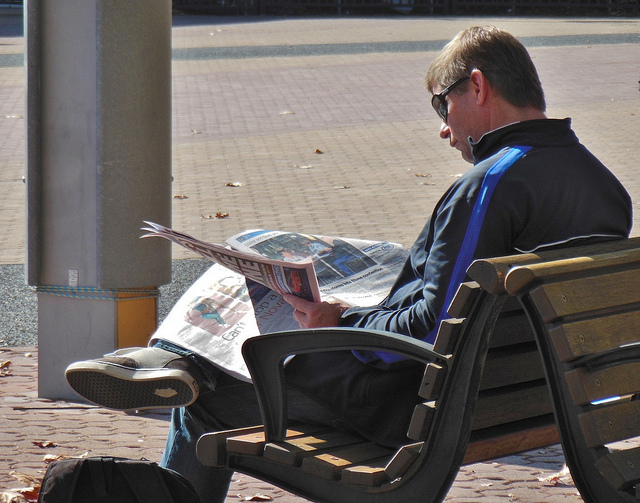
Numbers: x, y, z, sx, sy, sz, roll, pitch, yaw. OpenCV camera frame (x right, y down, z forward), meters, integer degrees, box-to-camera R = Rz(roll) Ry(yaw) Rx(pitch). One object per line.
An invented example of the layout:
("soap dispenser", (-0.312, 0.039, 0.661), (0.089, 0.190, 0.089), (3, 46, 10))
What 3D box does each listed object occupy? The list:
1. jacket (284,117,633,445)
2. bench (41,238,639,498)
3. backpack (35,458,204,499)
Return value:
("jacket", (0.517, 0.084, 3.058), (1.082, 1.059, 0.541), (-4, 16, -23))
("bench", (0.005, 0.423, 3.043), (1.638, 0.622, 1.083), (3, 2, 37))
("backpack", (-0.707, 0.792, 3.184), (0.371, 0.075, 0.232), (2, 0, -5))
